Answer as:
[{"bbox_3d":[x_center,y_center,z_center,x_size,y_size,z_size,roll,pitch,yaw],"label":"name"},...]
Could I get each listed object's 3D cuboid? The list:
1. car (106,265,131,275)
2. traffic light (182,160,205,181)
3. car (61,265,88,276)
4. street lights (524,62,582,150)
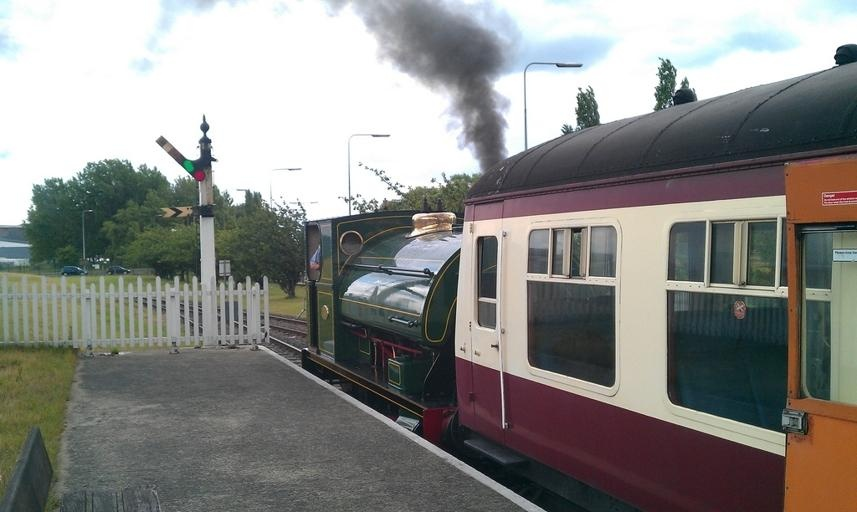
[{"bbox_3d":[-40.860,1.883,87.373,2.708,0.948,1.272,-2,1,9],"label":"car"},{"bbox_3d":[-5.019,-1.852,14.150,0.244,0.417,0.568,2,6,11],"label":"traffic light"},{"bbox_3d":[-43.090,1.775,80.298,2.160,1.138,1.358,-3,4,-11],"label":"car"},{"bbox_3d":[1.335,-1.817,8.121,0.856,0.212,1.333,2,-40,5],"label":"street lights"}]
